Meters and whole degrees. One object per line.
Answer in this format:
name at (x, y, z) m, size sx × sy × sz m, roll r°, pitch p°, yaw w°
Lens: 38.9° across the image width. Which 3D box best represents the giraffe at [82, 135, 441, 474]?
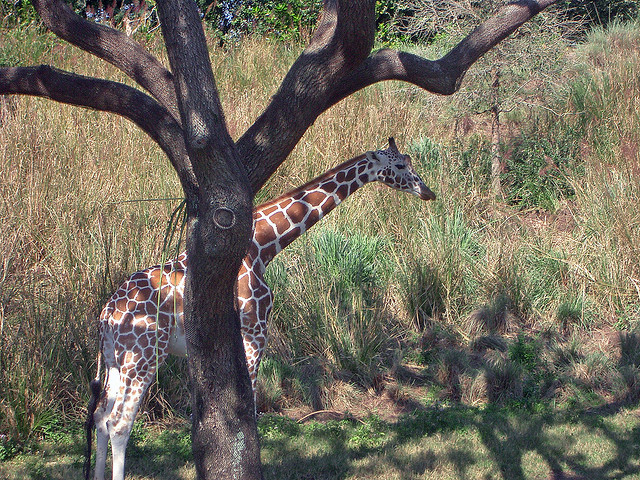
giraffe at (-0.782, 0.650, 8.894) m, size 3.272 × 2.811 × 1.786 m, roll -7°, pitch -7°, yaw -7°
